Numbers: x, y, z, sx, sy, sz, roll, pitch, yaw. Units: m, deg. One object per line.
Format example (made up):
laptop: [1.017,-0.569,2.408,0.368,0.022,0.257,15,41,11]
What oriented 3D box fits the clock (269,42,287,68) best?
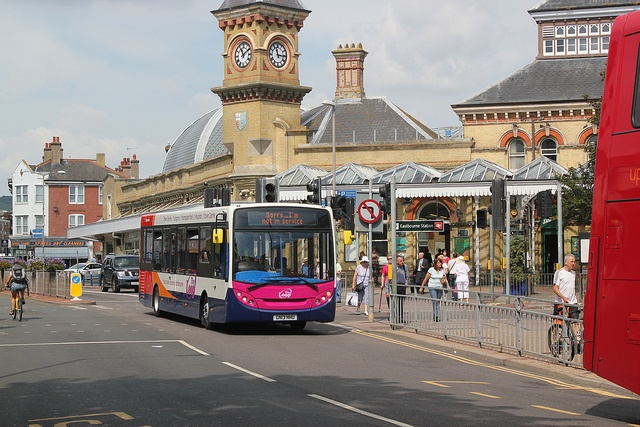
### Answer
clock: [-2.720,-9.845,60.842,1.299,1.290,0.153,31,-24,-33]

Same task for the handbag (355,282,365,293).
handbag: [1.369,2.574,34.072,0.310,0.327,0.443,1,-6,1]

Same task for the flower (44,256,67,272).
flower: [-12.708,2.397,46.391,0.734,0.509,0.706,3,2,25]

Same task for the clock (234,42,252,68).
clock: [-4.784,-9.869,60.788,0.114,1.603,1.590,6,2,-39]

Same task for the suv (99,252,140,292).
suv: [-10.360,3.080,50.624,1.489,2.027,3.656,4,-7,-28]

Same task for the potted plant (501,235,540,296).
potted plant: [8.612,2.413,41.901,1.644,3.379,1.580,5,-5,-40]

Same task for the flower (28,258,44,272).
flower: [-14.268,2.549,48.844,0.736,0.614,0.699,2,-3,-12]

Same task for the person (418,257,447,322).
person: [3.515,2.345,30.039,0.662,1.899,0.710,0,-1,-2]
